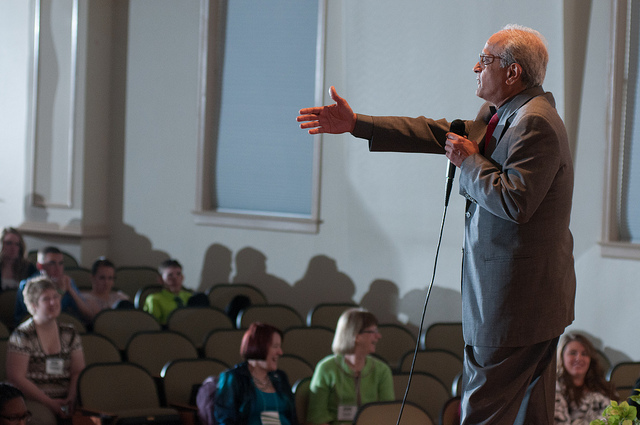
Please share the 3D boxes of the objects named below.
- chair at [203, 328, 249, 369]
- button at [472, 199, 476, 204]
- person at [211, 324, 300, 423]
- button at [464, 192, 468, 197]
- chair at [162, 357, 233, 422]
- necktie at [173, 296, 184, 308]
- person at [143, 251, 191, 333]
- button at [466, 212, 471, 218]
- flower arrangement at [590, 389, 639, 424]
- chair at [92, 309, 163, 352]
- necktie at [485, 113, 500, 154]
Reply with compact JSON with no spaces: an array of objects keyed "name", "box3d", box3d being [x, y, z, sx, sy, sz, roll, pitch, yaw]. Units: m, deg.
[{"name":"chair","box3d":[-0.907,1.318,8.275,0.294,0.518,0.338,2,-3,-17]},{"name":"button","box3d":[1.063,-0.079,5.846,0.005,0.025,0.023,-8,13,-41]},{"name":"person","box3d":[-0.575,1.439,7.433,0.498,0.771,0.378,16,-32,-35]},{"name":"button","box3d":[1.003,-0.124,5.842,0.016,0.029,0.008,-10,-2,26]},{"name":"chair","box3d":[-1.106,1.595,7.667,0.453,0.664,0.486,1,-11,-25]},{"name":"necktie","box3d":[-1.589,0.999,9.616,0.119,0.105,0.202,1,-5,-10]},{"name":"person","box3d":[-1.713,0.930,9.675,0.444,0.937,0.295,16,-31,-35]},{"name":"button","box3d":[1.031,0.013,5.885,0.032,0.039,0.008,1,4,31]},{"name":"flower arrangement","box3d":[2.021,1.340,5.771,0.365,0.187,0.151,2,-4,-23]},{"name":"chair","box3d":[-1.999,1.152,8.667,0.431,0.636,0.460,2,-8,-24]},{"name":"necktie","box3d":[1.194,-0.586,5.907,0.045,0.398,0.049,9,-8,25]}]
